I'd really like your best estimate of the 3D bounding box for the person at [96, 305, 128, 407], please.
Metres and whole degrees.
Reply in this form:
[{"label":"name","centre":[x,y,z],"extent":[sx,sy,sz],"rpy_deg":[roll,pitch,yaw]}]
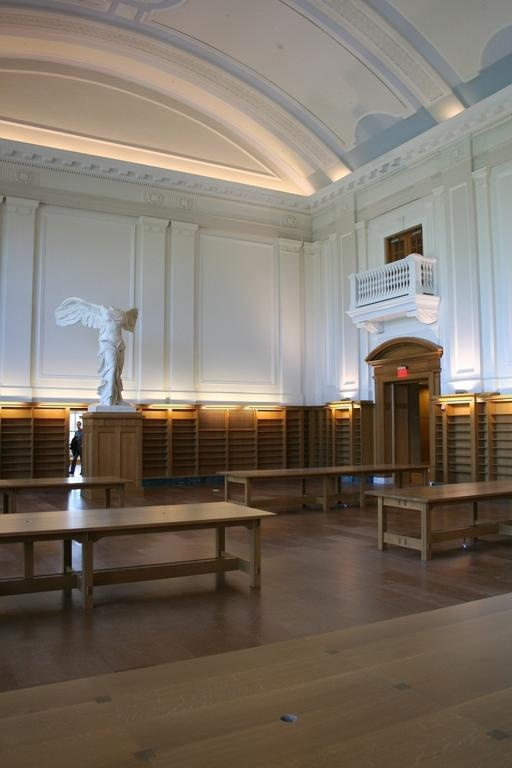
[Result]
[{"label":"person","centre":[-2.407,-0.402,9.272],"extent":[0.445,1.590,0.553],"rpy_deg":[3,-10,-17]}]
